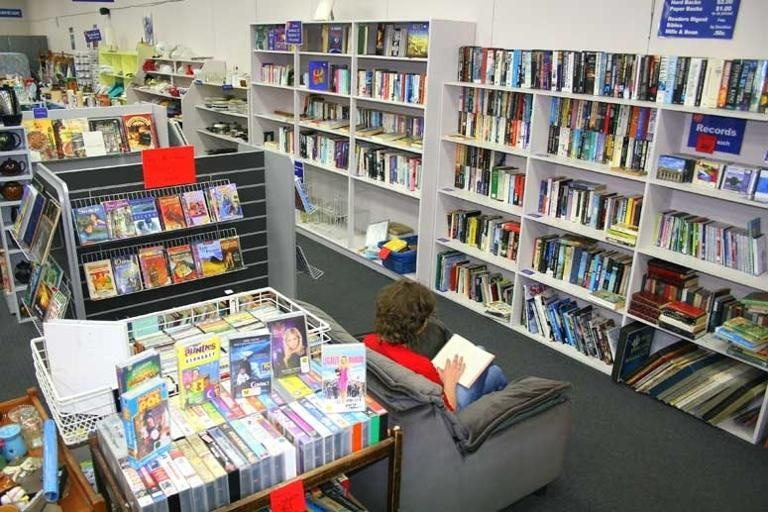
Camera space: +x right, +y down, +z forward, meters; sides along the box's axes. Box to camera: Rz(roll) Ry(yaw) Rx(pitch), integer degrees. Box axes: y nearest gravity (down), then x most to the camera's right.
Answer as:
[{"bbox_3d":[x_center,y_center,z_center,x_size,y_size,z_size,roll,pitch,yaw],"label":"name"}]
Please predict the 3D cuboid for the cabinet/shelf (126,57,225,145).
[{"bbox_3d":[-3.217,-2.483,8.521,0.823,1.597,2.089,-14,34,-42],"label":"cabinet/shelf"}]
